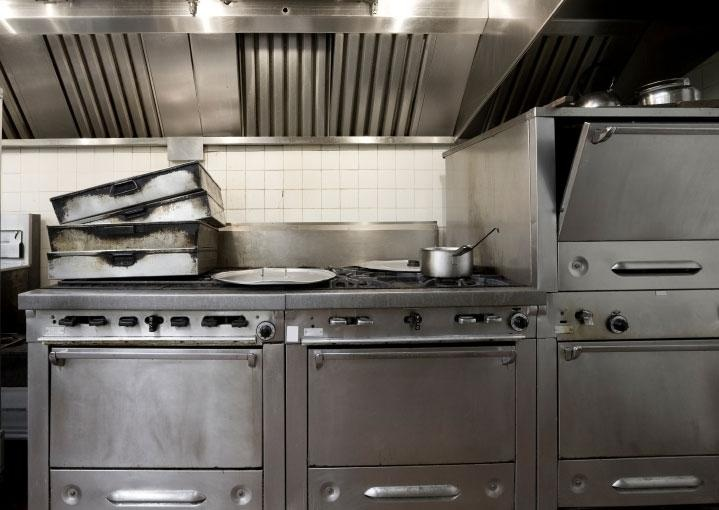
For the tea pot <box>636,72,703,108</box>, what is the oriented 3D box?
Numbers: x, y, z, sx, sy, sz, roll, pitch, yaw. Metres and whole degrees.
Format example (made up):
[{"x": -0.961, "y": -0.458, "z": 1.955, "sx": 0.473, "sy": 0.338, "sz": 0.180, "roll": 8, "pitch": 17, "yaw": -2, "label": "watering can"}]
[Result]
[{"x": 1.816, "y": -0.920, "z": 4.095, "sx": 0.254, "sy": 0.099, "sz": 0.242, "roll": -1, "pitch": 2, "yaw": 0, "label": "tea pot"}]

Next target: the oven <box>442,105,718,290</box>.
[{"x": 1.019, "y": -0.356, "z": 4.559, "sx": 0.959, "sy": 0.806, "sz": 1.315, "roll": -1, "pitch": 2, "yaw": 2, "label": "oven"}]

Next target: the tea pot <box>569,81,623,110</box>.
[{"x": 1.416, "y": -0.944, "z": 4.209, "sx": 0.255, "sy": 0.163, "sz": 0.171, "roll": -1, "pitch": 9, "yaw": -1, "label": "tea pot"}]
